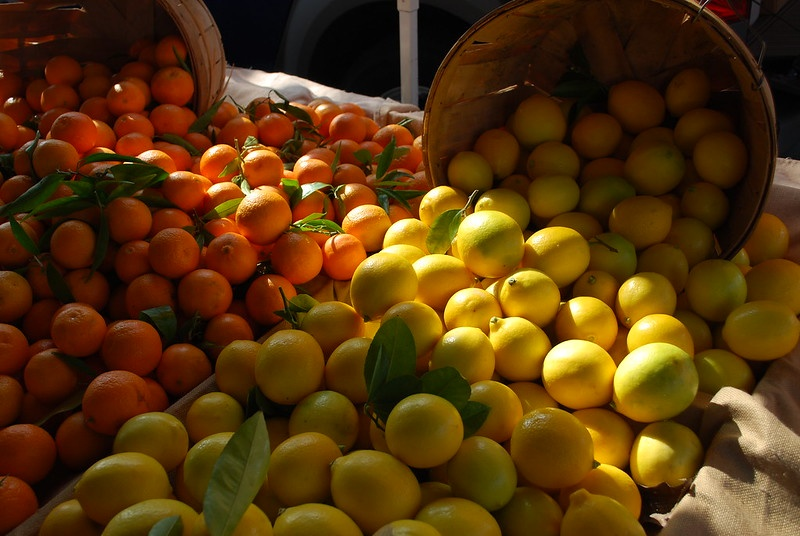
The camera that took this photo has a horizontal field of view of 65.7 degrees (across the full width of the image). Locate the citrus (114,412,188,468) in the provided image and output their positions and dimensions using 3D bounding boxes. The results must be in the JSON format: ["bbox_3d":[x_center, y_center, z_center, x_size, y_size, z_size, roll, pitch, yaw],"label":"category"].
[{"bbox_3d":[-0.544,0.365,1.353,0.136,0.115,0.109,5,-10,-22],"label":"citrus"}]

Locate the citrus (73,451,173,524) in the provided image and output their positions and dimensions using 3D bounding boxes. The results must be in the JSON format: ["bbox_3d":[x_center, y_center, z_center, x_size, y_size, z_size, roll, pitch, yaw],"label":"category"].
[{"bbox_3d":[-0.578,0.437,1.294,0.161,0.133,0.126,0,3,-13],"label":"citrus"}]

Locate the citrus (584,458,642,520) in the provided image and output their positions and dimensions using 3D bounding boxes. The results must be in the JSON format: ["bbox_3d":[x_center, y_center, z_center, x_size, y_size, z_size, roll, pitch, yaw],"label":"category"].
[{"bbox_3d":[0.469,0.483,1.408,0.129,0.115,0.112,17,-27,13],"label":"citrus"}]
